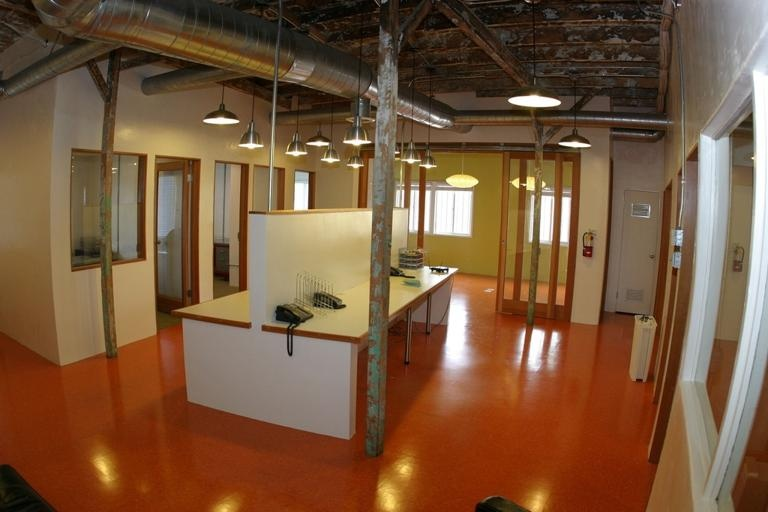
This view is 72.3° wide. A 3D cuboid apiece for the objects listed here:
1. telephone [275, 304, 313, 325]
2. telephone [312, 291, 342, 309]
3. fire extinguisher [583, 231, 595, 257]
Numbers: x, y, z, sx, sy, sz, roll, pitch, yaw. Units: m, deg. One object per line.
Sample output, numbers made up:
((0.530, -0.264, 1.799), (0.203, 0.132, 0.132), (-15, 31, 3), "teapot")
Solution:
((-1.018, 0.638, 5.762), (0.252, 0.095, 0.257), (6, 5, 21), "telephone")
((-0.676, 0.531, 6.300), (0.280, 0.106, 0.204), (2, 0, 10), "telephone")
((3.761, -0.204, 9.715), (0.217, 0.486, 0.103), (4, 8, 20), "fire extinguisher")
